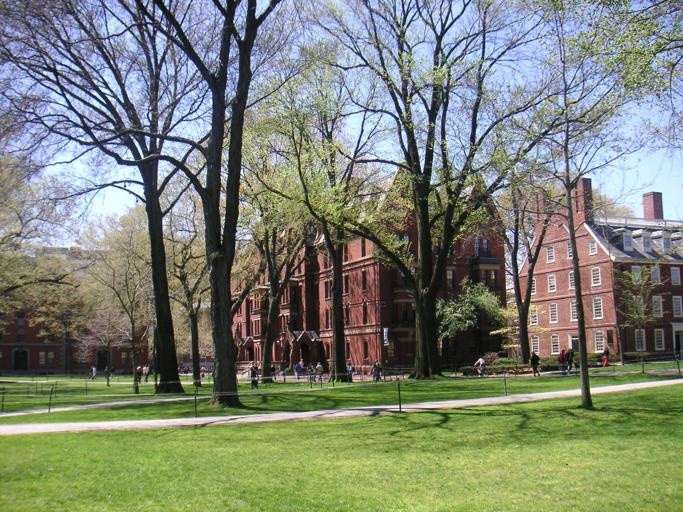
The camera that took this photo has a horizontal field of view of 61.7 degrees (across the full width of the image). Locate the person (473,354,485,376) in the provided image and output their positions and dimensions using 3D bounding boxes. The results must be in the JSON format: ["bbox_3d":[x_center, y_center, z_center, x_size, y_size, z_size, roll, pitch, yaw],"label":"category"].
[{"bbox_3d":[11.555,9.251,47.636,0.681,1.393,2.837,-5,-13,8],"label":"person"}]
